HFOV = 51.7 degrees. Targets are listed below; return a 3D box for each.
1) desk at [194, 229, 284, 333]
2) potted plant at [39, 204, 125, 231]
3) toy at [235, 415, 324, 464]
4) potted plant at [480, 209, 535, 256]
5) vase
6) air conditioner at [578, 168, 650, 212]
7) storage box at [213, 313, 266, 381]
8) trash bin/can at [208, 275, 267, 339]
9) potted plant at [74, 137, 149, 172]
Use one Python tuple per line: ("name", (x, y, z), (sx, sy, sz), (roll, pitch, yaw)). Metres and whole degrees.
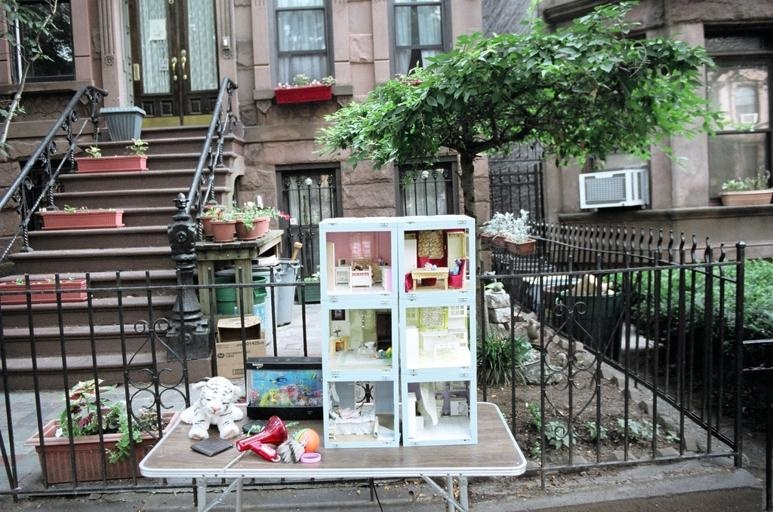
("desk", (-2.300, 0.420, 12.342), (1.038, 1.387, 2.882), (0, 5, -2))
("potted plant", (-4.837, -0.567, 12.759), (1.291, 0.398, 0.539), (-4, 4, 11))
("toy", (-1.104, 1.930, 8.138), (0.434, 0.423, 0.645), (-21, -7, 41))
("potted plant", (2.107, -0.358, 13.053), (0.627, 0.587, 1.300), (-1, 0, -12))
("vase", (-3.424, 2.329, 9.412), (1.409, 0.436, 0.965), (-1, 4, -5))
("air conditioner", (4.131, -1.165, 14.503), (1.191, 0.715, 0.423), (-1, 5, 44))
("storage box", (-2.110, 1.323, 11.493), (0.691, 0.820, 0.794), (-6, 4, -12))
("trash bin/can", (-2.284, 0.761, 12.146), (0.984, 0.990, 0.956), (0, 6, -10))
("potted plant", (-4.684, -1.643, 13.604), (1.175, 0.569, 0.789), (-6, 4, -14))
